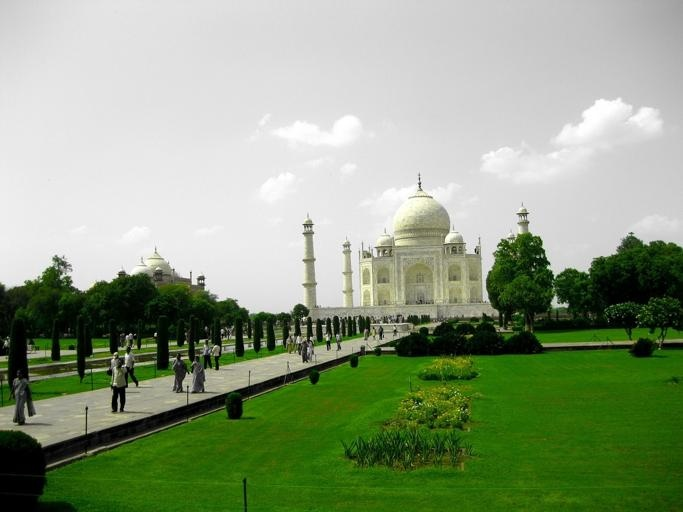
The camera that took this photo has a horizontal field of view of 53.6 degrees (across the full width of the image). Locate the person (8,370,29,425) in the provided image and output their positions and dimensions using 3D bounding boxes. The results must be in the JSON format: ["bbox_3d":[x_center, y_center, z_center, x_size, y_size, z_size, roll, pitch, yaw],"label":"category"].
[{"bbox_3d":[-7.466,3.281,15.682,0.314,1.243,0.850,-1,-9,-26],"label":"person"}]
